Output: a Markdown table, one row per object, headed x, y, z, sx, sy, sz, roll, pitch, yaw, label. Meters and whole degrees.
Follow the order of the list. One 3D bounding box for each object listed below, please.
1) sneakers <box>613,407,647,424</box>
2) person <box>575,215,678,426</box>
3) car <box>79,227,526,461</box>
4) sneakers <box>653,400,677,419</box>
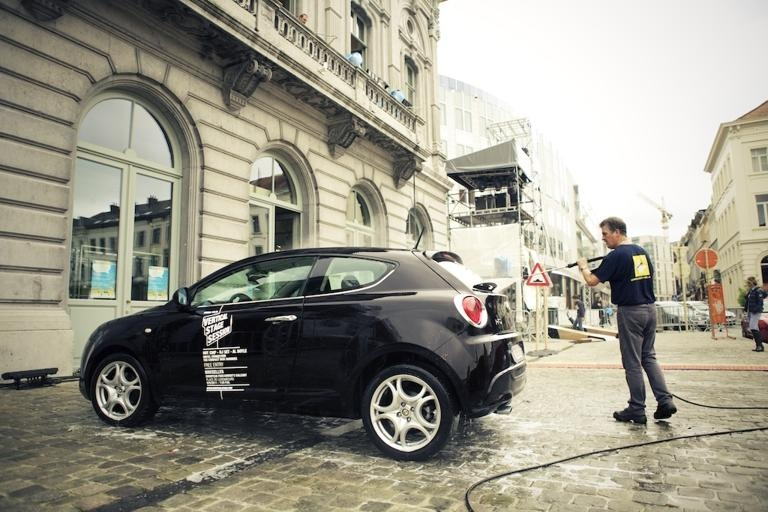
| x | y | z | sx | sy | sz | roll | pitch | yaw | label |
| --- | --- | --- | --- | --- | --- | --- | --- | --- | --- |
| 3.406 | 2.233 | 7.259 | 0.478 | 0.226 | 0.181 | 5 | 1 | 38 | sneakers |
| 3.532 | 0.873 | 7.405 | 1.192 | 2.878 | 0.962 | 1 | 2 | 32 | person |
| -0.979 | 1.109 | 6.507 | 5.115 | 2.434 | 0.705 | 1 | 2 | 14 | car |
| 3.861 | 2.113 | 7.051 | 0.166 | 0.200 | 0.413 | -13 | -13 | -1 | sneakers |
